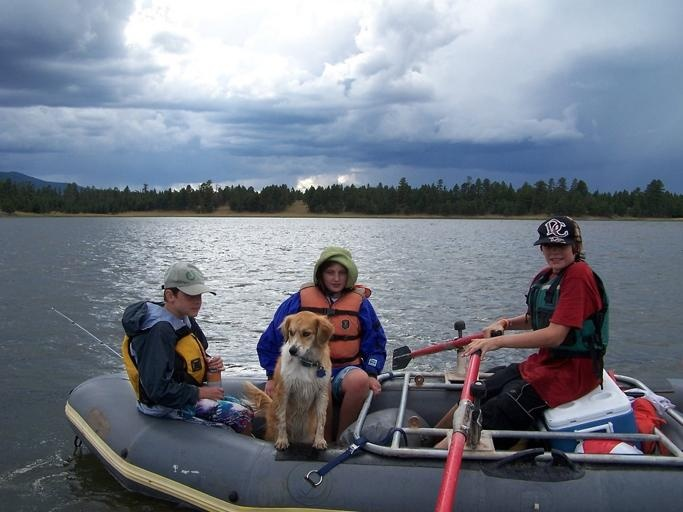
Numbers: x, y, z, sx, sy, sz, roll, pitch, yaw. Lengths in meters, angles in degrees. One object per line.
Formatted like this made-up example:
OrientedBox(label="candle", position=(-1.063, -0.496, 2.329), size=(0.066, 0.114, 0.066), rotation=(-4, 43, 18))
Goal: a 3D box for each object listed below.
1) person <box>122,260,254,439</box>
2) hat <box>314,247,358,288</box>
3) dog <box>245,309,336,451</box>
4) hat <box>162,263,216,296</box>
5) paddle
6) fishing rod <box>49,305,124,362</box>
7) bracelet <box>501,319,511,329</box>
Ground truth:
OrientedBox(label="person", position=(-1.656, 1.089, 5.851), size=(1.208, 2.132, 1.145), rotation=(8, 10, 35))
OrientedBox(label="hat", position=(-0.099, 0.137, 6.410), size=(0.482, 0.535, 0.417), rotation=(2, 8, -19))
OrientedBox(label="dog", position=(-0.426, 1.265, 5.558), size=(0.871, 1.337, 1.195), rotation=(3, 9, -6))
OrientedBox(label="hat", position=(-1.690, 0.265, 5.717), size=(0.568, 0.365, 0.439), rotation=(1, 7, -24))
OrientedBox(label="paddle", position=(1.357, 1.109, 6.701), size=(1.714, 0.479, 0.334), rotation=(-21, 38, 29))
OrientedBox(label="fishing rod", position=(-6.510, 1.854, 13.119), size=(0.267, 0.248, 5.784), rotation=(-6, 8, -40))
OrientedBox(label="bracelet", position=(1.830, 0.762, 5.814), size=(0.105, 0.066, 0.146), rotation=(7, 0, 20))
